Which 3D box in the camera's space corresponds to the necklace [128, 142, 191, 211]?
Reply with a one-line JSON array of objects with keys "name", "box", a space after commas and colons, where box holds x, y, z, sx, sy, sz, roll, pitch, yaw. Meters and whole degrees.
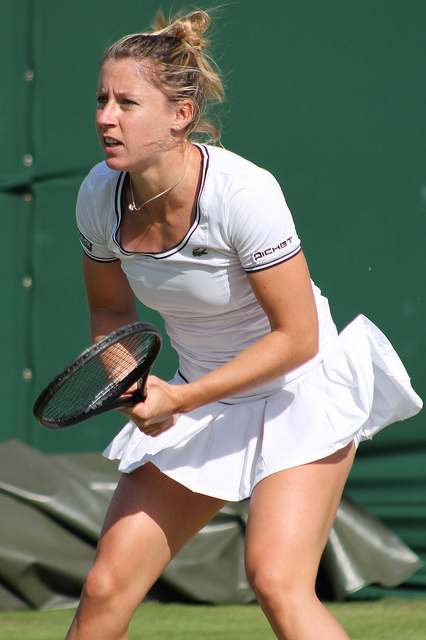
[{"name": "necklace", "box": [-0.117, -0.314, 1.525, 0.147, 0.146, 0.116, -3, 13, -5]}]
